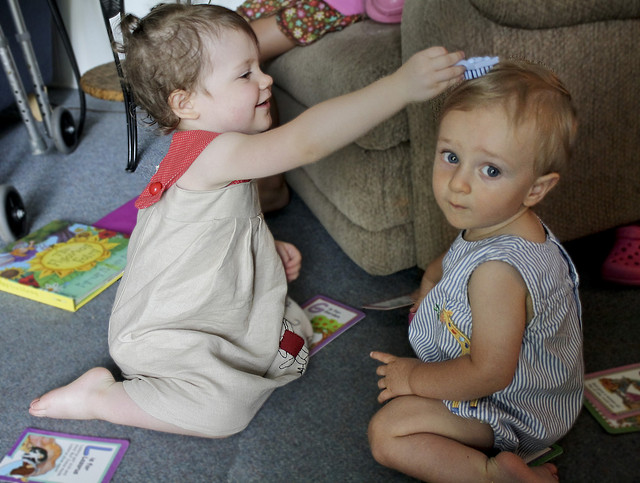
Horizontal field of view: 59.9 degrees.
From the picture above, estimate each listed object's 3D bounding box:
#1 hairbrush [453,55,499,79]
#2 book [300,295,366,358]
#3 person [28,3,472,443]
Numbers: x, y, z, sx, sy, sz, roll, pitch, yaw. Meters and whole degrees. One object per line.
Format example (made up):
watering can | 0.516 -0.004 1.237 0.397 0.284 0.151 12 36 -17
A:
hairbrush | 0.292 -0.326 1.027 0.073 0.025 0.080 8 47 13
book | 0.003 0.199 1.364 0.210 0.002 0.228 -18 25 4
person | 0.043 -0.172 1.482 1.092 1.077 0.661 -3 21 -9
